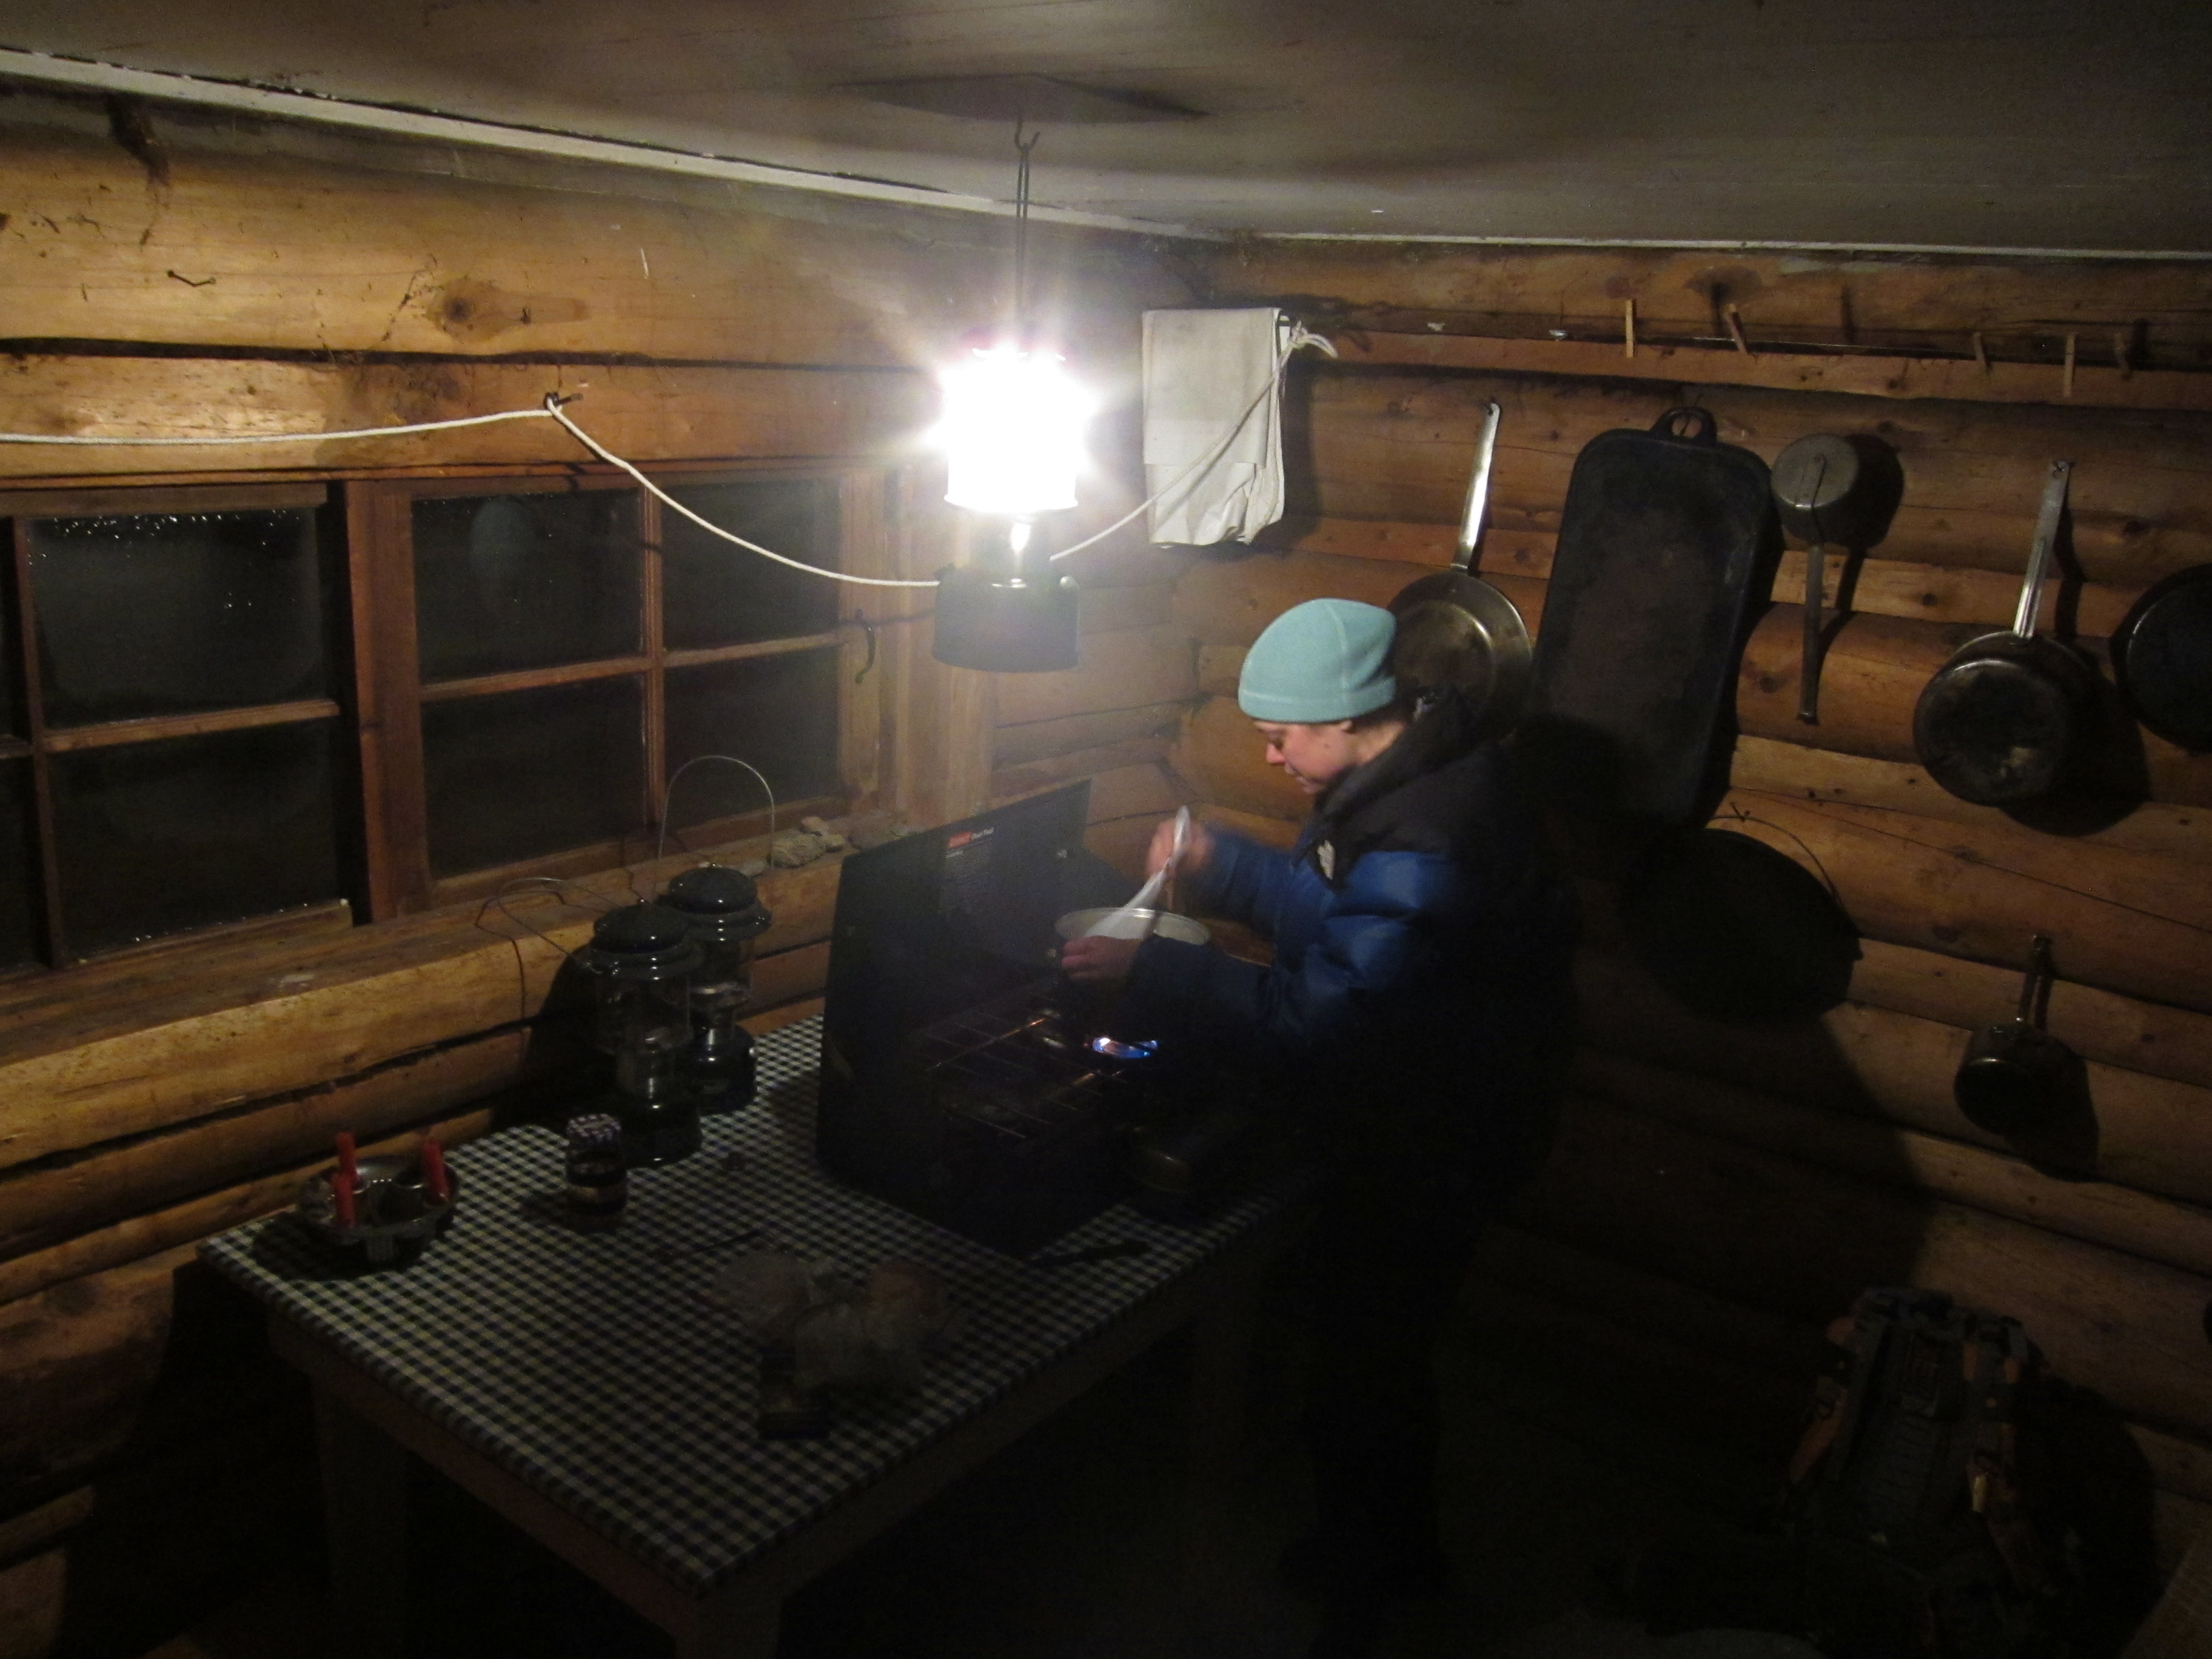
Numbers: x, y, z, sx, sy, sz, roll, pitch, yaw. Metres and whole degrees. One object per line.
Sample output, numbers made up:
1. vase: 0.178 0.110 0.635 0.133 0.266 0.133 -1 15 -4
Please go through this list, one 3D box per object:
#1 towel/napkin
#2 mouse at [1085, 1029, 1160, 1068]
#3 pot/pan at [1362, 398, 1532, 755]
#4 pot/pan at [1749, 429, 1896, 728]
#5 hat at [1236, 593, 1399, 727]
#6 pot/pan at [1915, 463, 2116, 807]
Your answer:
1. towel/napkin: 0.305 -1.173 4.493 0.481 0.618 0.189 3 22 8
2. mouse: 0.038 0.459 3.294 0.105 0.033 0.067 4 11 15
3. pot/pan: 0.914 -0.662 4.286 0.100 0.884 0.495 3 -3 -18
4. pot/pan: 1.741 -0.604 3.855 0.299 0.703 0.276 8 4 30
5. hat: 0.474 -0.386 3.488 0.391 0.254 0.277 -11 22 -22
6. pot/pan: 2.088 -0.399 3.545 0.362 0.820 0.302 -9 22 -35
